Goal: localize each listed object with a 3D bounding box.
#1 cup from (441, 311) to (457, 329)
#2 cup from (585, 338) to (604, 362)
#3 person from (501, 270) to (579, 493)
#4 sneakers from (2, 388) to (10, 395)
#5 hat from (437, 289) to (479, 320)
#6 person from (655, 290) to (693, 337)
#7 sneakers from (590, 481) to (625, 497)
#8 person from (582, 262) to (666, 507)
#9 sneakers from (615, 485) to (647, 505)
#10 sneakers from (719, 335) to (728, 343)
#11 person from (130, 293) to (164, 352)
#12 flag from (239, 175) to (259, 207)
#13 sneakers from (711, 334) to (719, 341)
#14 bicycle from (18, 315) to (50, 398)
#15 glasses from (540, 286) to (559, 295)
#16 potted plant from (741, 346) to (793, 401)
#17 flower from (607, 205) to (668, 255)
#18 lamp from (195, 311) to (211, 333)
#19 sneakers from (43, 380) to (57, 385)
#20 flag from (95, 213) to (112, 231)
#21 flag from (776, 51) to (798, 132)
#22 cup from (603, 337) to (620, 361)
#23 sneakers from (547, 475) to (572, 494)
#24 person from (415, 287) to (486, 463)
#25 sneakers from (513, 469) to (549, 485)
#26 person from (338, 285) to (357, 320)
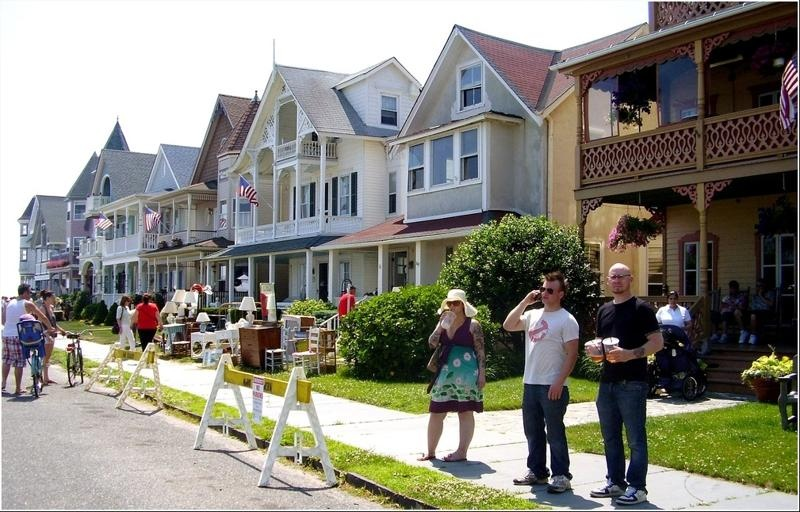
[{"bbox_3d":[0.883,1.153,13.610,0.264,0.335,0.201,-1,-7,16],"label":"cup"},{"bbox_3d":[3.171,1.547,12.268,0.332,0.381,0.352,-7,-13,-2],"label":"cup"},{"bbox_3d":[2.439,2.093,12.659,0.743,3.634,1.119,6,-8,-40],"label":"person"},{"bbox_3d":[-10.414,3.578,19.920,0.131,0.150,0.359,1,-3,-19],"label":"sneakers"},{"bbox_3d":[1.116,0.838,13.930,0.644,0.397,0.656,-2,1,12],"label":"hat"},{"bbox_3d":[7.409,1.619,20.407,1.023,1.335,0.720,-1,-11,9],"label":"person"},{"bbox_3d":[3.396,3.828,12.380,0.583,0.273,0.225,1,-6,3],"label":"sneakers"},{"bbox_3d":[3.651,2.045,12.224,1.060,3.850,0.750,-1,-7,16],"label":"person"},{"bbox_3d":[3.717,3.820,12.020,0.531,0.247,0.210,4,-8,-27],"label":"sneakers"},{"bbox_3d":[9.255,2.335,21.477,0.186,0.229,0.466,-2,-8,23],"label":"sneakers"},{"bbox_3d":[-8.642,2.210,25.687,0.877,1.900,1.181,3,-7,-18],"label":"person"},{"bbox_3d":[-7.735,-3.465,38.803,1.054,0.400,2.678,36,-2,-9],"label":"flag"},{"bbox_3d":[9.128,2.349,21.723,0.213,0.216,0.680,-2,-8,23],"label":"sneakers"},{"bbox_3d":[-9.691,2.592,19.816,0.633,2.146,0.719,2,-7,-10],"label":"bicycle"},{"bbox_3d":[2.447,0.572,12.582,0.152,0.113,0.313,7,-10,-43],"label":"glasses"},{"bbox_3d":[8.471,2.708,17.438,1.236,1.015,1.315,-2,1,3],"label":"potted plant"},{"bbox_3d":[7.578,-0.806,24.653,1.579,1.182,1.681,-3,-6,0],"label":"flower"},{"bbox_3d":[-7.628,2.563,29.207,0.785,0.967,0.827,0,-5,5],"label":"lamp"},{"bbox_3d":[-10.105,3.649,21.779,0.329,0.154,0.111,-6,3,-6],"label":"sneakers"},{"bbox_3d":[-21.820,-2.620,55.609,1.635,0.092,1.830,-40,23,-9],"label":"flag"},{"bbox_3d":[9.497,-4.202,18.369,0.362,1.766,1.969,-3,-8,26],"label":"flag"},{"bbox_3d":[3.381,1.459,12.036,0.260,0.267,0.274,0,-6,0],"label":"cup"},{"bbox_3d":[2.635,3.782,12.450,0.197,0.188,0.419,-9,-17,31],"label":"sneakers"},{"bbox_3d":[1.015,2.166,13.726,1.058,3.106,0.658,0,-7,4],"label":"person"},{"bbox_3d":[2.230,3.786,12.883,0.637,0.311,0.242,3,-4,-2],"label":"sneakers"},{"bbox_3d":[-1.838,1.517,26.279,0.508,1.151,1.884,1,-7,-5],"label":"person"}]
